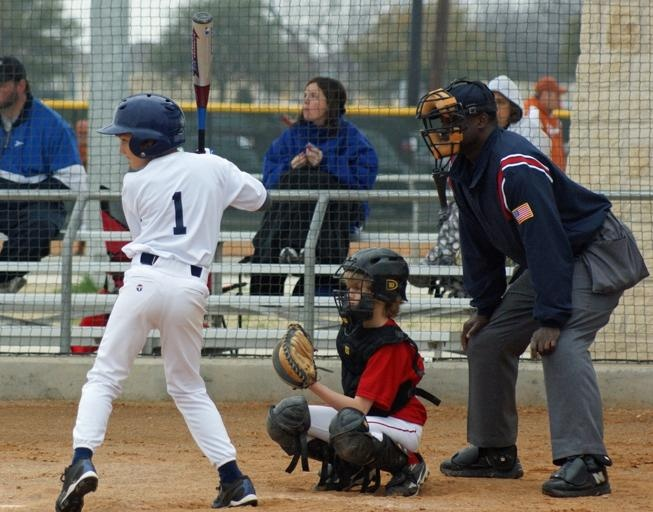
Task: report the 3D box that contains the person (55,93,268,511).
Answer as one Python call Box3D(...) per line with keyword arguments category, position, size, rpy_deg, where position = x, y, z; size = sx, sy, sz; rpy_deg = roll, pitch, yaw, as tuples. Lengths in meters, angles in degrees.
Box3D(category="person", position=(-1.192, 0.305, 12.092), size=(1.479, 2.924, 1.159), rpy_deg=(-1, 11, -3))

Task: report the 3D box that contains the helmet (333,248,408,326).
Box3D(category="helmet", position=(0.210, 0.187, 12.559), size=(0.639, 0.556, 0.457), rpy_deg=(4, 0, -8))

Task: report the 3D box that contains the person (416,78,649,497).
Box3D(category="person", position=(1.530, 0.205, 12.475), size=(1.488, 3.029, 0.853), rpy_deg=(9, 14, 39))

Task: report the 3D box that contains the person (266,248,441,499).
Box3D(category="person", position=(0.218, 0.855, 12.314), size=(1.188, 1.794, 0.619), rpy_deg=(0, 11, 2))

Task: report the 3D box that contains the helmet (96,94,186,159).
Box3D(category="helmet", position=(-1.389, -0.984, 12.247), size=(0.626, 0.396, 0.427), rpy_deg=(-6, 14, -7))

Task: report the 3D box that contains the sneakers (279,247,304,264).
Box3D(category="sneakers", position=(-0.325, -0.020, 15.001), size=(0.176, 0.102, 0.171), rpy_deg=(1, 0, -2))

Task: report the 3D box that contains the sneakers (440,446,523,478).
Box3D(category="sneakers", position=(1.183, 1.591, 12.881), size=(0.663, 0.268, 0.228), rpy_deg=(3, -1, 11))

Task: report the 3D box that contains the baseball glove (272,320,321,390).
Box3D(category="baseball glove", position=(-0.254, 0.744, 12.238), size=(0.397, 0.429, 0.185), rpy_deg=(-10, -9, -9))

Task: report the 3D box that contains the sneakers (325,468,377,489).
Box3D(category="sneakers", position=(0.122, 1.672, 12.373), size=(0.440, 0.167, 0.141), rpy_deg=(-4, 7, -12))

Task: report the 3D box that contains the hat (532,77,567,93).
Box3D(category="hat", position=(2.127, -1.674, 16.120), size=(0.291, 0.136, 0.167), rpy_deg=(2, 8, -5))

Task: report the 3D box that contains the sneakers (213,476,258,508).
Box3D(category="sneakers", position=(-0.661, 1.704, 11.955), size=(0.426, 0.174, 0.156), rpy_deg=(-12, -9, 35))
